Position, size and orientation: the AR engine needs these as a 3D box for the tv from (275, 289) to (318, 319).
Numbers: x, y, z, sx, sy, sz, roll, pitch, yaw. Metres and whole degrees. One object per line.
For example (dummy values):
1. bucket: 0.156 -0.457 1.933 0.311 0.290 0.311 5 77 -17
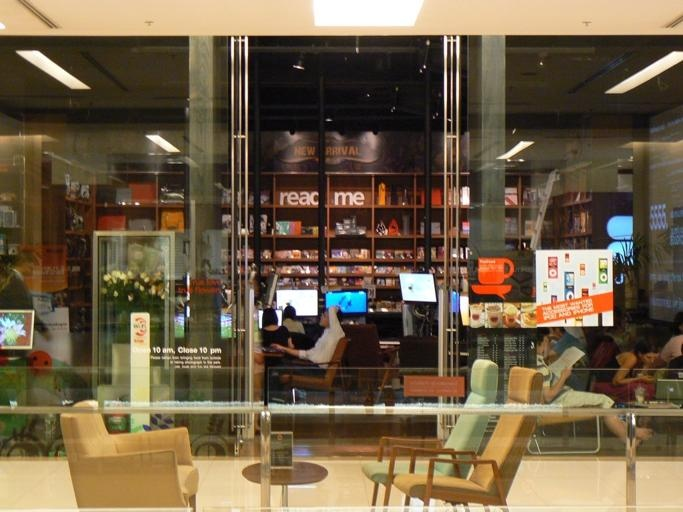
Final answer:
1. tv: -0.723 0.722 10.390 0.463 0.338 0.049 0 -2 -1

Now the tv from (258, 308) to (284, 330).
1. tv: -0.948 0.835 8.869 0.340 0.441 0.249 1 -17 -3

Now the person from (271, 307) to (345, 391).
1. person: -0.414 1.250 7.983 0.800 1.377 0.649 5 3 -13

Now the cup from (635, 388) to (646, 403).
1. cup: 2.294 1.066 5.225 0.076 0.121 0.041 1 -2 -9
